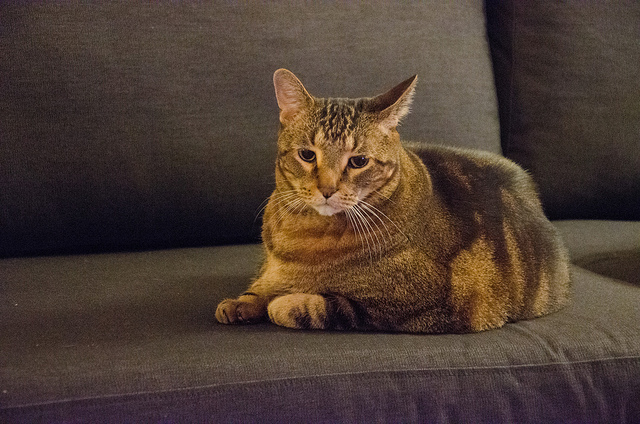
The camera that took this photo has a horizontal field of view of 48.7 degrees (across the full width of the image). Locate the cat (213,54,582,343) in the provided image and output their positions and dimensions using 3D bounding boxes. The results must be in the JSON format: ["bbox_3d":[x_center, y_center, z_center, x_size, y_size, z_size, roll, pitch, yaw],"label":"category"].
[{"bbox_3d":[0.241,-0.019,1.907,0.895,0.566,0.641,2,-4,-33],"label":"cat"}]
